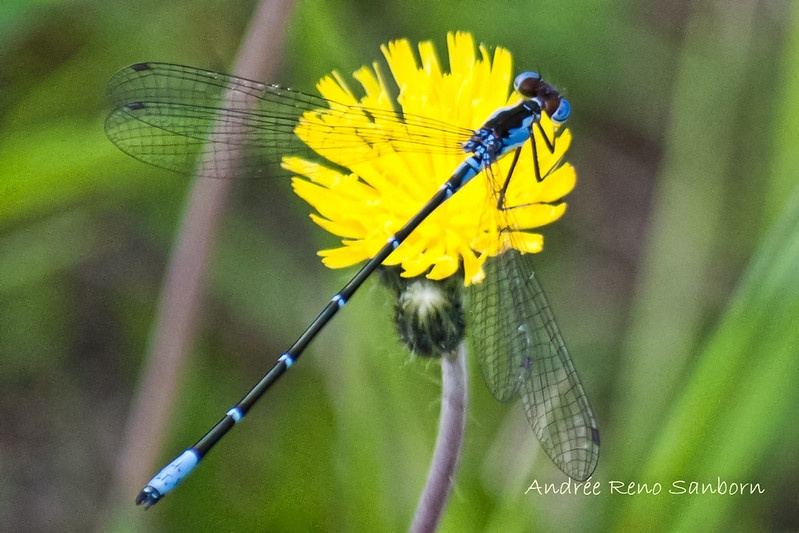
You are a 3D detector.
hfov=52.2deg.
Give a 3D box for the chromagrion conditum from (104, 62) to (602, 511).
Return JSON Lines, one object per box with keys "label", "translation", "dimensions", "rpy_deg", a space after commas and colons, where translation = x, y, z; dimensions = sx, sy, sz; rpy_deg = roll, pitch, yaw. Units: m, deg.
{"label": "chromagrion conditum", "translation": [-0.090, 0.000, 1.004], "dimensions": [0.594, 0.478, 0.441], "rpy_deg": [-7, 27, -12]}
